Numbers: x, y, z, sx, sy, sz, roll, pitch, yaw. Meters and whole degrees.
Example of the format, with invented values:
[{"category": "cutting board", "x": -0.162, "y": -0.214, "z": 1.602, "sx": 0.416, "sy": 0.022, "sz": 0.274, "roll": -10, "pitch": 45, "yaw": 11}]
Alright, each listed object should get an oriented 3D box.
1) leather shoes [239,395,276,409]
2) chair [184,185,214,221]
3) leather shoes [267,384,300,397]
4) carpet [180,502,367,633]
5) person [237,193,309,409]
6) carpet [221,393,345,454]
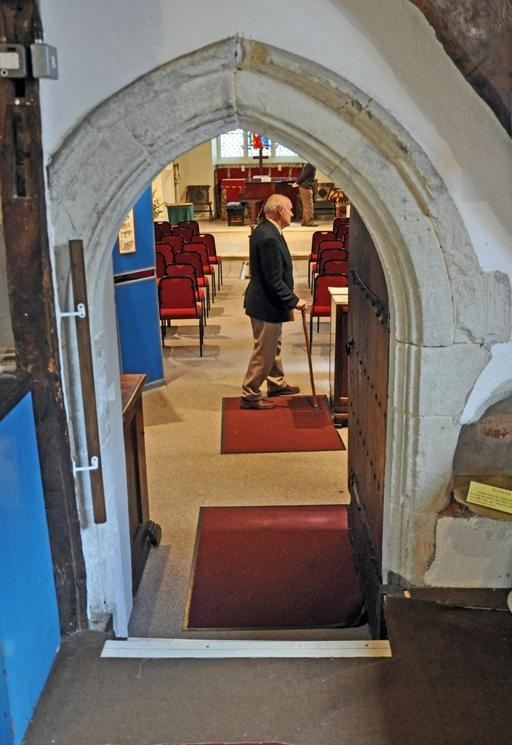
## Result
[{"category": "leather shoes", "x": 0.008, "y": 0.291, "z": 5.358, "sx": 0.252, "sy": 0.130, "sz": 0.132, "roll": -1, "pitch": 6, "yaw": -5}, {"category": "chair", "x": -1.726, "y": -5.030, "z": 17.534, "sx": 0.754, "sy": 1.023, "sz": 0.464, "roll": -4, "pitch": 9, "yaw": -7}, {"category": "leather shoes", "x": 0.256, "y": 0.182, "z": 5.666, "sx": 0.327, "sy": 0.167, "sz": 0.119, "roll": -4, "pitch": 16, "yaw": -10}, {"category": "carpet", "x": 0.085, "y": 1.017, "z": 3.196, "sx": 0.900, "sy": 0.169, "sz": 1.125, "roll": -3, "pitch": 10, "yaw": 2}, {"category": "person", "x": 0.106, "y": -0.581, "z": 5.143, "sx": 0.596, "sy": 1.838, "sz": 0.709, "roll": -3, "pitch": 9, "yaw": -1}, {"category": "carpet", "x": 0.179, "y": 0.435, "z": 4.979, "sx": 0.955, "sy": 0.212, "sz": 1.121, "roll": -4, "pitch": 10, "yaw": -2}]
